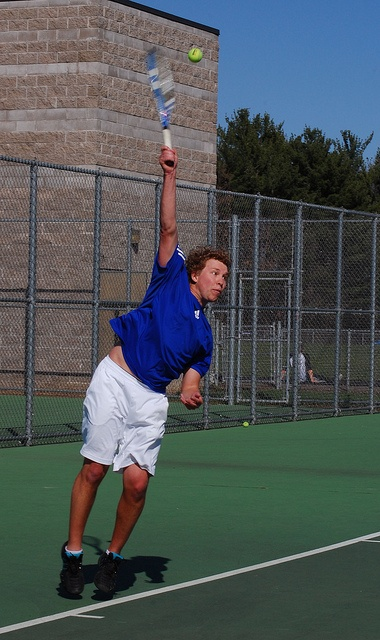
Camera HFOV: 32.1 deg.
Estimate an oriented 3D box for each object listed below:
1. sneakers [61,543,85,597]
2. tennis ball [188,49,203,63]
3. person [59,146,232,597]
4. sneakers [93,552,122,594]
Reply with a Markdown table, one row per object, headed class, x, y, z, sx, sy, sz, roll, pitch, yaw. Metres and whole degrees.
| class | x | y | z | sx | sy | sz | roll | pitch | yaw |
| --- | --- | --- | --- | --- | --- | --- | --- | --- | --- |
| sneakers | -0.503 | 1.077 | 2.796 | 0.091 | 0.267 | 0.112 | -3 | -25 | -15 |
| tennis ball | 0.055 | -3.014 | 7.456 | 0.129 | 0.157 | 0.239 | 3 | -1 | 4 |
| person | -0.182 | 0.252 | 2.852 | 0.683 | 1.763 | 0.408 | 3 | -1 | -7 |
| sneakers | -0.344 | 1.049 | 2.795 | 0.088 | 0.117 | 0.267 | 19 | 4 | -2 |
